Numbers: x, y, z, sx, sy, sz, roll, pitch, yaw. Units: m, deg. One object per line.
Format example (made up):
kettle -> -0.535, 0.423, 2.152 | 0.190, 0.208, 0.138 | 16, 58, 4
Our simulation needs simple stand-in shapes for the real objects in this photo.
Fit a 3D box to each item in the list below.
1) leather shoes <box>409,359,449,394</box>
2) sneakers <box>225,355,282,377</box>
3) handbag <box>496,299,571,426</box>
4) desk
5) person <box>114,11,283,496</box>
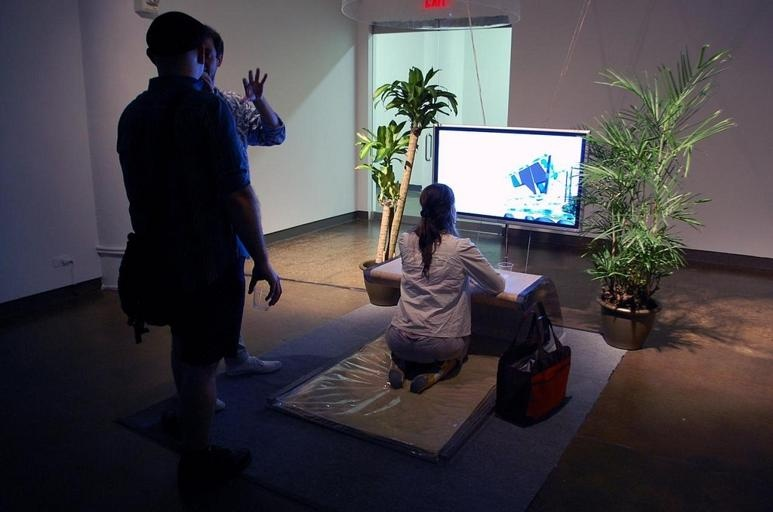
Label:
leather shoes -> 0.321, 0.841, 3.396 | 0.113, 0.137, 0.374 | 4, 28, 39
sneakers -> -0.981, 0.811, 3.606 | 0.449, 0.167, 0.155 | -2, 22, -11
handbag -> 0.976, 0.738, 3.219 | 0.316, 0.719, 0.543 | 14, 26, 43
desk -> 0.906, 0.443, 3.941 | 1.283, 0.603, 0.925 | 10, 24, 27
person -> -0.985, 0.005, 2.449 | 0.655, 2.331, 0.620 | -14, 21, -36
